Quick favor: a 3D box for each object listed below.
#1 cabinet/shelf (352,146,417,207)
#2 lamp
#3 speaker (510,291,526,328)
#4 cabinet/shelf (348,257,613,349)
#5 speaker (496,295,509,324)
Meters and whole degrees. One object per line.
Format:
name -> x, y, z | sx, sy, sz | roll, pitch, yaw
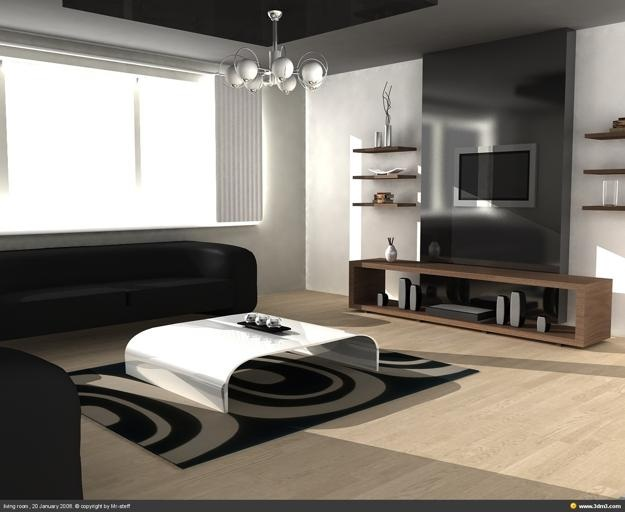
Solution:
cabinet/shelf -> 0.921, -0.996, 6.133 | 0.910, 0.679, 0.347 | 3, 4, 41
lamp -> -0.259, -1.505, 3.599 | 0.634, 0.426, 0.736 | 12, 23, 30
speaker -> 1.871, 0.493, 4.545 | 0.121, 0.329, 0.085 | 2, 5, 23
cabinet/shelf -> 1.541, 0.425, 5.137 | 0.618, 0.567, 2.566 | -4, 7, -43
speaker -> 1.802, 0.513, 4.707 | 0.103, 0.263, 0.201 | 2, 5, 22
